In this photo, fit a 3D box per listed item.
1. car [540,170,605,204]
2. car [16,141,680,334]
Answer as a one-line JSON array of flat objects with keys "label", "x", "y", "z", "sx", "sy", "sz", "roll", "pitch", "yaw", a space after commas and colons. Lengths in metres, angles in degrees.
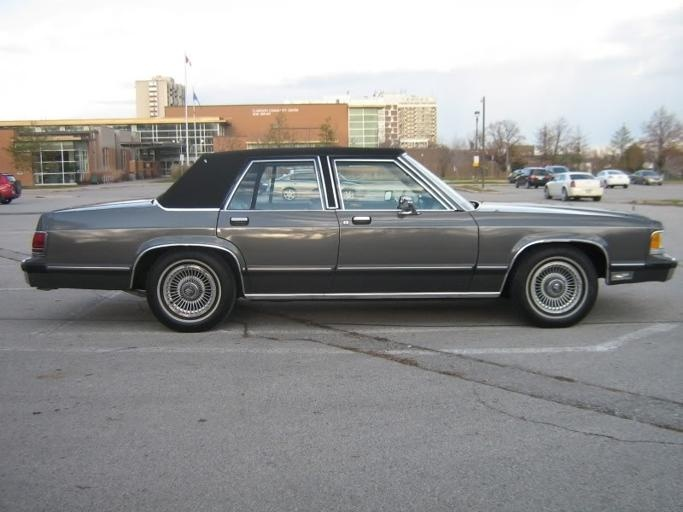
[{"label": "car", "x": 14.173, "y": -4.325, "z": 31.612, "sx": 1.950, "sy": 1.244, "sz": 4.227, "roll": -2, "pitch": 12, "yaw": -7}, {"label": "car", "x": -0.088, "y": -0.242, "z": 6.609, "sx": 7.914, "sy": 1.763, "sz": 2.652, "roll": -1, "pitch": 6, "yaw": -2}]
